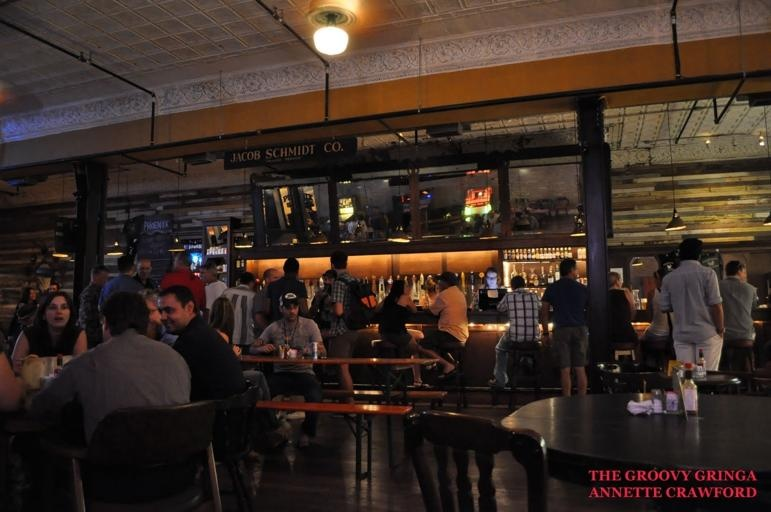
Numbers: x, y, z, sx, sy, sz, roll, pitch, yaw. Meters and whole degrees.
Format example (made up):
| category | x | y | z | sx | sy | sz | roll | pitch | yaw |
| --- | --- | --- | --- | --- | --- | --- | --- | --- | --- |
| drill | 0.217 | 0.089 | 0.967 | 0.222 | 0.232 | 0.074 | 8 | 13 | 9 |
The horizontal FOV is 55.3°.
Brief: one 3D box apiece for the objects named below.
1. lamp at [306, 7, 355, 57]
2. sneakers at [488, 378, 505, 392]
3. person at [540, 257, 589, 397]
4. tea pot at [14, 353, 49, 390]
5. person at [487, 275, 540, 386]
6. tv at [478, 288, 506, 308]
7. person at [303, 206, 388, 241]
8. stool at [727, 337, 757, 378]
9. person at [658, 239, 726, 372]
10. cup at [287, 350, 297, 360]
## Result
| category | x | y | z | sx | sy | sz | roll | pitch | yaw |
| --- | --- | --- | --- | --- | --- | --- | --- | --- | --- |
| lamp | -0.747 | -3.070 | 10.081 | 0.678 | 0.616 | 0.662 | -1 | 0 | -8 |
| sneakers | 1.736 | 2.009 | 11.371 | 0.130 | 0.131 | 0.295 | 10 | -6 | -30 |
| person | 2.531 | 0.979 | 10.298 | 0.619 | 1.864 | 0.403 | 0 | -4 | 11 |
| tea pot | -3.447 | 1.124 | 7.241 | 0.312 | 0.302 | 0.310 | -3 | -7 | 0 |
| person | 2.044 | 1.171 | 11.238 | 0.818 | 1.730 | 0.436 | -3 | -5 | 42 |
| tv | 1.744 | 0.742 | 11.908 | 0.543 | 0.366 | 0.291 | -1 | -9 | 8 |
| person | -0.765 | -0.637 | 15.375 | 1.694 | 0.640 | 0.693 | 0 | -3 | 1 |
| stool | 4.993 | 1.414 | 10.333 | 0.511 | 0.543 | 0.501 | -2 | -10 | 9 |
| person | 3.910 | 0.837 | 9.372 | 0.685 | 2.155 | 0.606 | -1 | 17 | 25 |
| cup | -1.166 | 1.237 | 9.241 | 0.104 | 0.074 | 0.101 | -1 | -5 | 0 |
